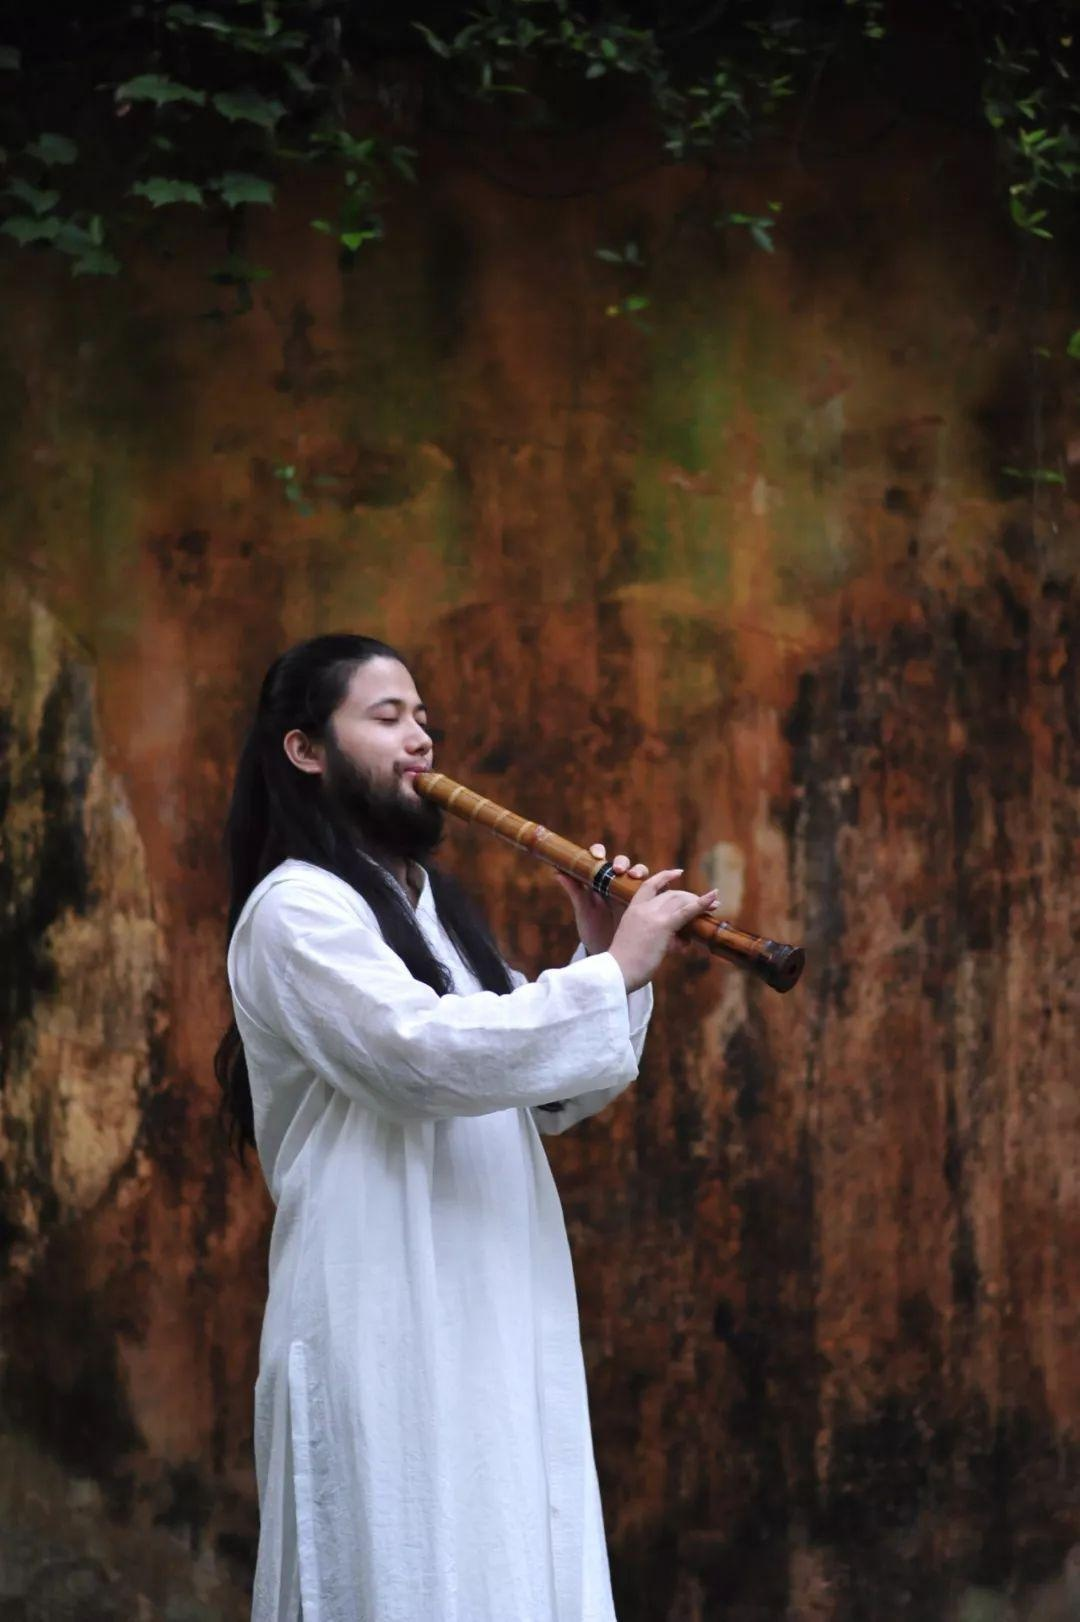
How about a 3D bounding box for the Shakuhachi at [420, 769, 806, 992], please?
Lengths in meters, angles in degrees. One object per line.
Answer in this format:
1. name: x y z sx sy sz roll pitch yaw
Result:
1. Shakuhachi: 0.128 0.153 4.153 0.970 0.133 0.143 26 -7 35
